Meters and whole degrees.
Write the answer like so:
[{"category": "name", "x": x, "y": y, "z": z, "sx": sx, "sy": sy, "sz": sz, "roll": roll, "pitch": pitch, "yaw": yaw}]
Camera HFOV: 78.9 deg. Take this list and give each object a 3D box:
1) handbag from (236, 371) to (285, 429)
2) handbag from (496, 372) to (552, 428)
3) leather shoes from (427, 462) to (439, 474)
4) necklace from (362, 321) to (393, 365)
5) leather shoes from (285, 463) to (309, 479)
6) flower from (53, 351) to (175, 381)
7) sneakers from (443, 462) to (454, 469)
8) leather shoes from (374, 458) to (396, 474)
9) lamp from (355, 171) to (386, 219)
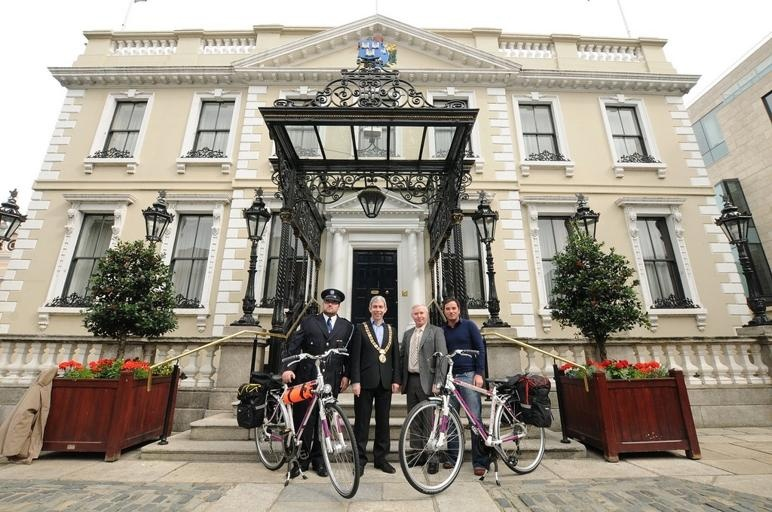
[{"category": "handbag", "x": -2.688, "y": 3.278, "z": 10.832, "sx": 1.325, "sy": 1.205, "sz": 1.173, "roll": 12, "pitch": -14, "yaw": -43}, {"category": "handbag", "x": 3.149, "y": 3.289, "z": 10.733, "sx": 1.367, "sy": 1.088, "sz": 1.063, "roll": -8, "pitch": -14, "yaw": 28}, {"category": "leather shoes", "x": 0.960, "y": 4.407, "z": 9.716, "sx": 0.210, "sy": 0.272, "sz": 0.251, "roll": -1, "pitch": -13, "yaw": 1}, {"category": "necklace", "x": -0.101, "y": 1.934, "z": 10.431, "sx": 0.557, "sy": 0.864, "sz": 0.190, "roll": 0, "pitch": -20, "yaw": -14}, {"category": "leather shoes", "x": -1.910, "y": 4.663, "z": 10.132, "sx": 0.562, "sy": 0.198, "sz": 0.252, "roll": 2, "pitch": -11, "yaw": 8}, {"category": "flower", "x": -6.562, "y": 2.773, "z": 11.424, "sx": 1.545, "sy": 0.404, "sz": 1.113, "roll": 3, "pitch": -5, "yaw": -35}, {"category": "sneakers", "x": 1.337, "y": 4.530, "z": 10.083, "sx": 0.110, "sy": 0.099, "sz": 0.256, "roll": 2, "pitch": -17, "yaw": -3}, {"category": "leather shoes", "x": -0.032, "y": 4.618, "z": 10.265, "sx": 0.565, "sy": 0.205, "sz": 0.206, "roll": -6, "pitch": -7, "yaw": 37}, {"category": "lamp", "x": -0.410, "y": -1.831, "z": 13.451, "sx": 0.707, "sy": 1.369, "sz": 1.500, "roll": 0, "pitch": -13, "yaw": -3}]
